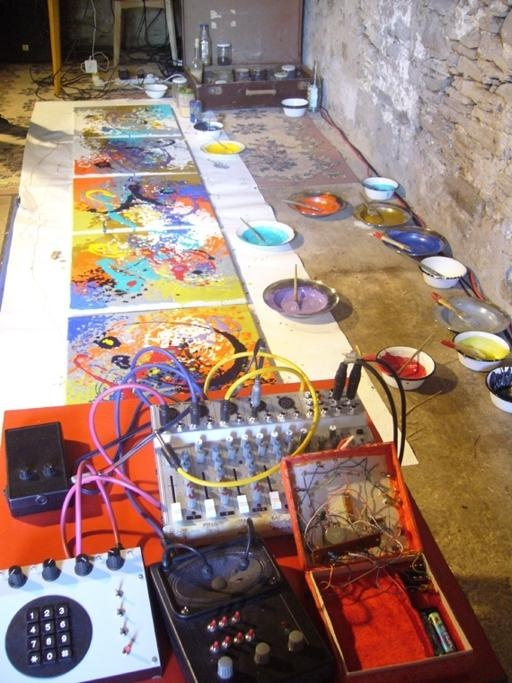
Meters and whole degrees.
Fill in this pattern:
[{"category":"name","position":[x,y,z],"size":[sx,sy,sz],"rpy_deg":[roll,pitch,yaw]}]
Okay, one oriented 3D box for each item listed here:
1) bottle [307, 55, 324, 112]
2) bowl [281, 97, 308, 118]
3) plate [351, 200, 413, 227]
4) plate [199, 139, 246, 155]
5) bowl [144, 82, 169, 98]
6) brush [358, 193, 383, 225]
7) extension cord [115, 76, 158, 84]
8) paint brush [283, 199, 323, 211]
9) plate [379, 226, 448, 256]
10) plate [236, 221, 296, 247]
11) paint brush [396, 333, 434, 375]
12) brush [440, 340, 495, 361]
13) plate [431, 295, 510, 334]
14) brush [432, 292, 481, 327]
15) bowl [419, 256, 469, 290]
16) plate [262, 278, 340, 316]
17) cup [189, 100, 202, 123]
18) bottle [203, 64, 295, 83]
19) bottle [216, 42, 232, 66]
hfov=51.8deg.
[{"category":"bottle","position":[0.427,-1.851,3.796],"size":[0.114,0.333,0.212],"rpy_deg":[11,26,20]},{"category":"bowl","position":[0.273,-1.682,3.756],"size":[0.183,0.134,0.250],"rpy_deg":[2,23,3]},{"category":"plate","position":[0.613,-0.631,2.555],"size":[0.274,0.078,0.201],"rpy_deg":[4,23,8]},{"category":"plate","position":[-0.207,-1.180,3.179],"size":[0.233,0.078,0.238],"rpy_deg":[-18,30,-38]},{"category":"bowl","position":[-0.775,-1.942,4.048],"size":[0.181,0.124,0.422],"rpy_deg":[-3,23,-9]},{"category":"brush","position":[0.560,-0.645,2.572],"size":[0.109,0.025,0.159],"rpy_deg":[-6,59,-1]},{"category":"extension cord","position":[-0.982,-2.138,4.288],"size":[0.273,0.053,0.137],"rpy_deg":[-2,39,-1]},{"category":"paint brush","position":[0.253,-0.684,2.629],"size":[0.139,0.022,0.086],"rpy_deg":[3,41,-14]},{"category":"plate","position":[0.689,-0.452,2.323],"size":[0.210,0.049,0.189],"rpy_deg":[8,37,-4]},{"category":"plate","position":[0.038,-0.479,2.341],"size":[0.236,0.088,0.209],"rpy_deg":[-8,25,-20]},{"category":"paint brush","position":[0.508,0.041,1.687],"size":[0.197,0.032,0.014],"rpy_deg":[-37,29,-21]},{"category":"brush","position":[0.700,0.034,1.697],"size":[0.099,0.015,0.060],"rpy_deg":[19,23,2]},{"category":"plate","position":[0.756,-0.092,1.883],"size":[0.256,0.090,0.184],"rpy_deg":[20,29,37]},{"category":"brush","position":[0.719,-0.120,1.929],"size":[0.048,0.026,0.231],"rpy_deg":[-28,41,-15]},{"category":"bowl","position":[0.739,-0.272,2.104],"size":[0.185,0.111,0.161],"rpy_deg":[9,25,18]},{"category":"plate","position":[0.162,-0.180,1.946],"size":[0.278,0.101,0.243],"rpy_deg":[-6,24,-17]},{"category":"cup","position":[-0.417,-1.580,3.596],"size":[0.083,0.138,0.212],"rpy_deg":[-2,24,-6]},{"category":"bottle","position":[-0.020,-1.982,3.877],"size":[0.747,0.165,0.461],"rpy_deg":[-2,23,-6]},{"category":"bottle","position":[-0.246,-2.176,3.977],"size":[0.157,0.155,0.143],"rpy_deg":[-2,52,-1]}]
